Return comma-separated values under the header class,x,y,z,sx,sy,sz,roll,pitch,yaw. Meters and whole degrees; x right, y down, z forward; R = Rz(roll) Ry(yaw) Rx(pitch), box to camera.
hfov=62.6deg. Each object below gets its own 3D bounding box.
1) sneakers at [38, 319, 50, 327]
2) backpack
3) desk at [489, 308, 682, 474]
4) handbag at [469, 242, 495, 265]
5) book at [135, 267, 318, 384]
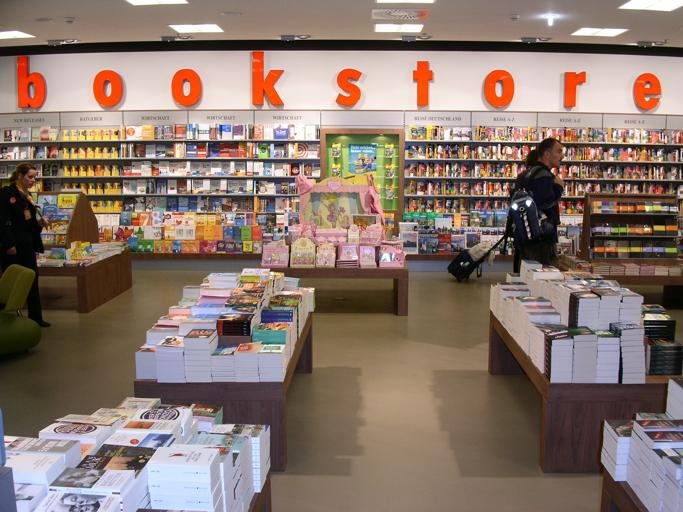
class,x,y,z,sx,sy,sz,roll,pitch,yaw
sneakers,-3.558,0.809,6.759,0.138,0.091,0.054,-6,23,-28
backpack,2.036,-0.534,5.641,0.480,0.647,0.387,-26,6,-29
desk,1.785,0.833,4.016,0.843,0.446,1.285,0,9,-1
handbag,2.298,-0.058,9.243,0.323,0.324,0.141,-16,-7,3
book,-0.800,0.545,4.331,0.822,0.334,1.178,0,10,2
